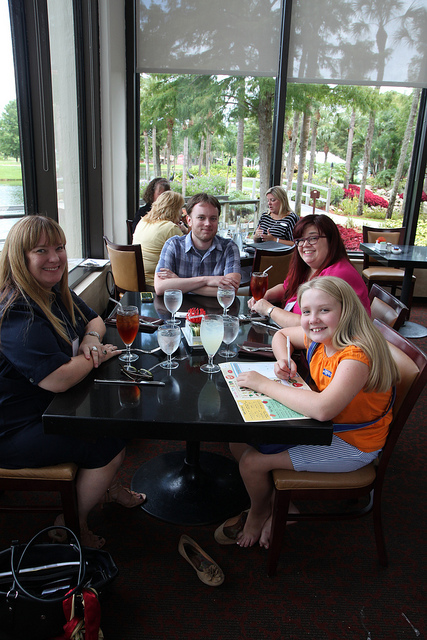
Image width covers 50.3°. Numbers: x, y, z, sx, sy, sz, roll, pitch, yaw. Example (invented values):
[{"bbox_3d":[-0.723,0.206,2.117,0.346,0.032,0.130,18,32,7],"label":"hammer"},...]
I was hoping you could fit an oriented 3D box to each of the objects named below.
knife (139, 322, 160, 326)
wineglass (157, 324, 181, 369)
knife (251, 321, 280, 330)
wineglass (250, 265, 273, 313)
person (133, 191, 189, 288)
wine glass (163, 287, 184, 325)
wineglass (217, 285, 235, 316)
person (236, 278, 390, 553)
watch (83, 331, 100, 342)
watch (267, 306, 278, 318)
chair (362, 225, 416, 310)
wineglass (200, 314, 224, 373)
[{"bbox_3d":[-0.259,0.018,1.782,0.078,0.007,0.018,6,13,13],"label":"knife"},{"bbox_3d":[-0.136,0.080,1.399,0.077,0.125,0.084,2,9,5],"label":"wineglass"},{"bbox_3d":[0.210,0.024,1.859,0.142,0.009,0.034,14,17,43],"label":"knife"},{"bbox_3d":[0.203,-0.144,1.970,0.096,0.198,0.071,-2,21,-12],"label":"wineglass"},{"bbox_3d":[-0.380,-0.536,3.474,0.460,0.853,0.369,-7,28,-16],"label":"person"},{"bbox_3d":[-0.161,-0.046,1.800,0.097,0.150,0.093,-9,33,-14],"label":"wine glass"},{"bbox_3d":[0.050,-0.073,1.932,0.096,0.150,0.093,-2,27,-4],"label":"wineglass"},{"bbox_3d":[0.289,0.322,1.437,0.528,0.846,0.375,3,9,-6],"label":"person"},{"bbox_3d":[-0.430,0.058,1.616,0.047,0.046,0.028,2,10,-43],"label":"watch"},{"bbox_3d":[0.247,-0.032,1.923,0.026,0.039,0.040,14,13,32],"label":"watch"},{"bbox_3d":[1.811,-0.505,4.839,0.479,0.915,0.566,0,16,-1],"label":"chair"},{"bbox_3d":[-0.004,0.062,1.454,0.070,0.170,0.203,3,12,2],"label":"wineglass"}]
